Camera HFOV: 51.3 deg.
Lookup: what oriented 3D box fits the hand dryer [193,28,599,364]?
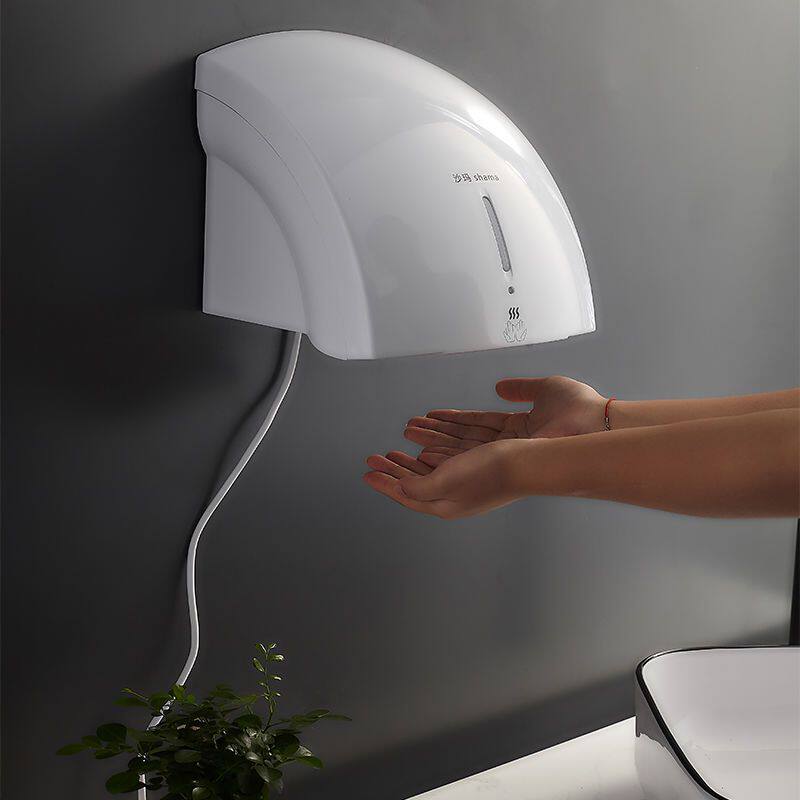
[{"bbox_3d":[-0.003,-0.230,0.901,0.442,0.275,0.400,7,22,0],"label":"hand dryer"}]
